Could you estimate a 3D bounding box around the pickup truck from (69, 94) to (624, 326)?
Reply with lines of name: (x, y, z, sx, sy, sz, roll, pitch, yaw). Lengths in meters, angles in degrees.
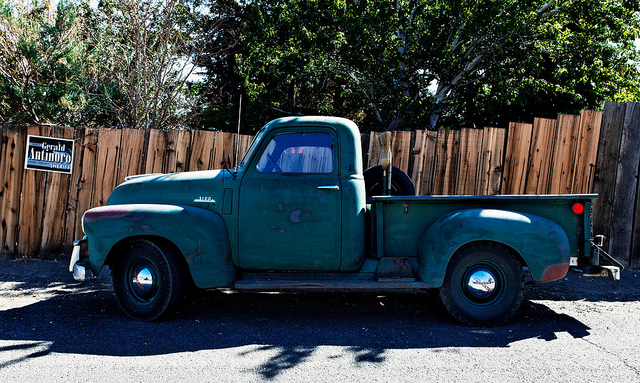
pickup truck: (0.382, 0.414, 9.421, 9.137, 3.335, 3.629, 0, 4, 6)
